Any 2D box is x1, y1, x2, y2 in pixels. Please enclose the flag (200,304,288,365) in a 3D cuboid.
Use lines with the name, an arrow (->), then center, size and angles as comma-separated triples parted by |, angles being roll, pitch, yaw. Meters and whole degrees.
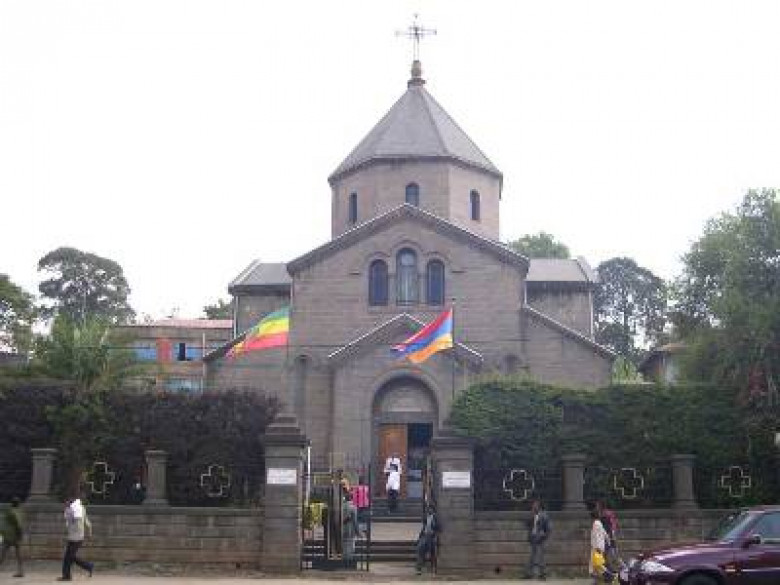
flag -> -4.806, 1.565, 54.951 | 3.143, 2.112, 1.898 | 0, -3, -8

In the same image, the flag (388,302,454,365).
flag -> 1.194, 1.489, 53.180 | 2.000, 1.790, 0.577 | -4, 3, 5

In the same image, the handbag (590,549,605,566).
handbag -> 6.155, 7.873, 45.199 | 0.454, 0.469, 0.252 | 2, -18, -18

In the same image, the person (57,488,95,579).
person -> -9.474, 7.193, 45.632 | 1.183, 2.512, 0.858 | 0, -7, -3

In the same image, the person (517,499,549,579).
person -> 4.418, 7.521, 46.379 | 0.787, 2.080, 1.057 | 1, -6, 3
